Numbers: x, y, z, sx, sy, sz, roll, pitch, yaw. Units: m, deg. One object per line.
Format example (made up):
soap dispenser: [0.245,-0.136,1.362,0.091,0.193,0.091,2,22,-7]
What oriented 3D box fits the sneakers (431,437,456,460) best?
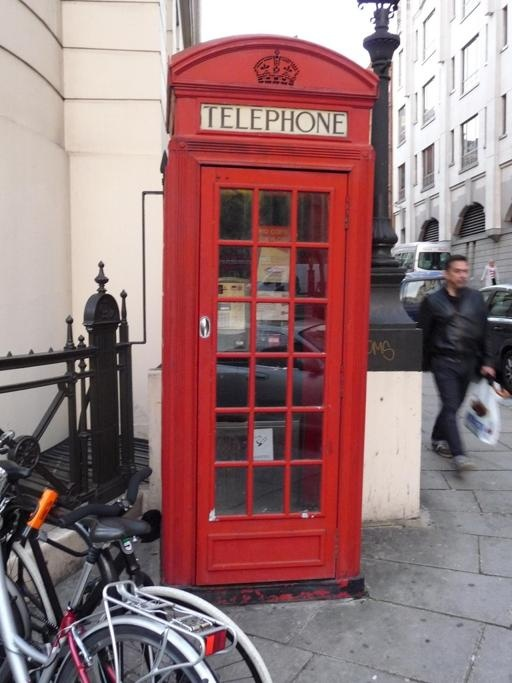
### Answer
sneakers: [1.639,0.960,5.974,0.091,0.119,0.262,-1,-3,-4]

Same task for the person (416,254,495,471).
person: [1.486,0.123,4.922,0.466,1.468,0.774,-1,5,-7]
